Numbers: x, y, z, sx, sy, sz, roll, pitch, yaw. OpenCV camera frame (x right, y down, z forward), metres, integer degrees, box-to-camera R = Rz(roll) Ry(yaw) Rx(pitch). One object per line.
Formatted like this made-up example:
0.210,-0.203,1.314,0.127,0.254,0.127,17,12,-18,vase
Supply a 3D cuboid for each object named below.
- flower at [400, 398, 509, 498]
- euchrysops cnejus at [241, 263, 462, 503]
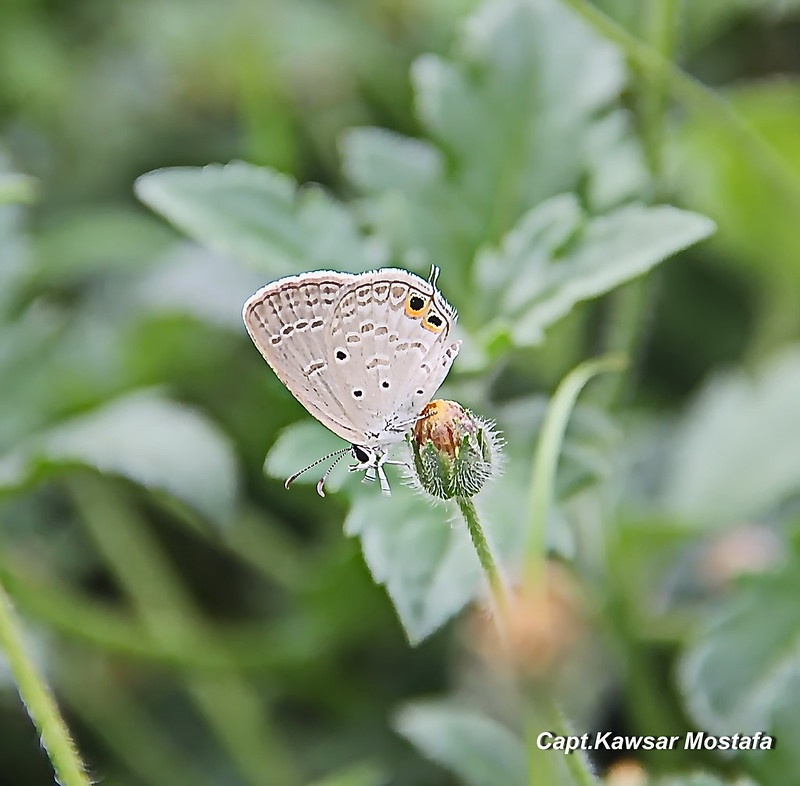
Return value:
0.049,0.059,1.010,0.093,0.093,0.093,-38,9,13,flower
-0.014,-0.045,1.108,0.211,0.193,0.224,-21,21,31,euchrysops cnejus
